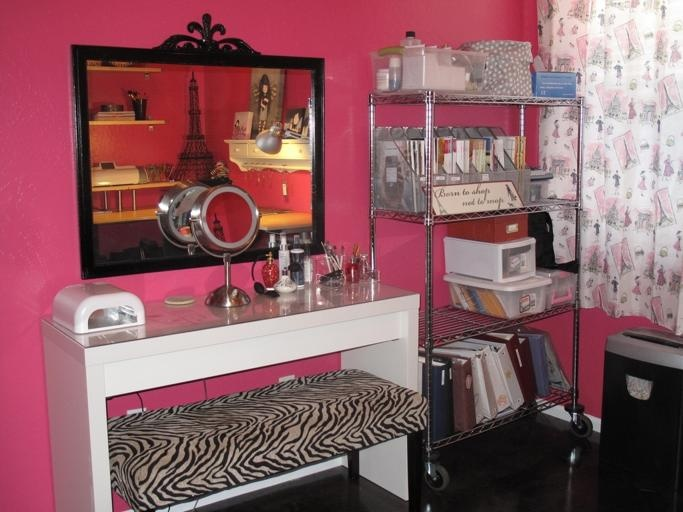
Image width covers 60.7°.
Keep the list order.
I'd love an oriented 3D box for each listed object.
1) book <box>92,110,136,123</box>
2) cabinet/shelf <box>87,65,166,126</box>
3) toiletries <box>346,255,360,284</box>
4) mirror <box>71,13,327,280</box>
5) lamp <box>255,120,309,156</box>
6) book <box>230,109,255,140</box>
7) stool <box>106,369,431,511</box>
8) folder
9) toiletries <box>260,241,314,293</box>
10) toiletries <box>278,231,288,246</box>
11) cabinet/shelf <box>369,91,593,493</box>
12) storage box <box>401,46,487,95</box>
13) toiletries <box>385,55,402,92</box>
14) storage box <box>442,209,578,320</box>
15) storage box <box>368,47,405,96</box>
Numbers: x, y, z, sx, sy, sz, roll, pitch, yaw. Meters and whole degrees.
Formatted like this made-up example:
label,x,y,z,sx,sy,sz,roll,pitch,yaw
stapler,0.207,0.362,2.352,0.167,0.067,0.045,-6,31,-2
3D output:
label,x,y,z,sx,sy,sz,roll,pitch,yaw
book,-1.001,-0.615,2.566,0.171,0.043,0.008,-6,13,-24
cabinet/shelf,-0.967,-0.714,2.574,0.260,0.230,0.087,-5,8,-34
toiletries,0.057,0.066,3.013,0.071,0.130,0.053,-1,12,-2
mirror,-0.709,-0.515,2.718,1.204,1.297,0.051,-4,7,-33
lamp,-0.303,-0.567,2.911,0.193,0.142,0.113,11,28,-47
book,-0.488,-0.638,2.815,0.141,0.206,0.069,1,4,-15
stool,-0.310,0.742,2.503,1.283,0.232,0.470,-6,14,-24
folder,0.758,0.691,3.179,0.603,0.630,0.258,-9,9,-33
toiletries,-0.272,0.070,2.838,0.252,0.266,0.162,-2,4,-39
toiletries,-0.292,-0.084,2.916,0.057,0.068,0.057,3,6,42
cabinet/shelf,0.348,0.130,3.474,0.666,2.117,1.161,7,4,-26
storage box,0.536,-0.934,2.952,0.499,0.214,0.166,-8,14,-29
toiletries,0.268,-0.926,2.965,0.069,0.170,0.071,-14,20,-33
storage box,0.975,0.038,3.488,0.747,0.746,0.554,-7,8,-38
storage box,0.231,-0.945,2.952,0.163,0.211,0.214,-2,11,-14
